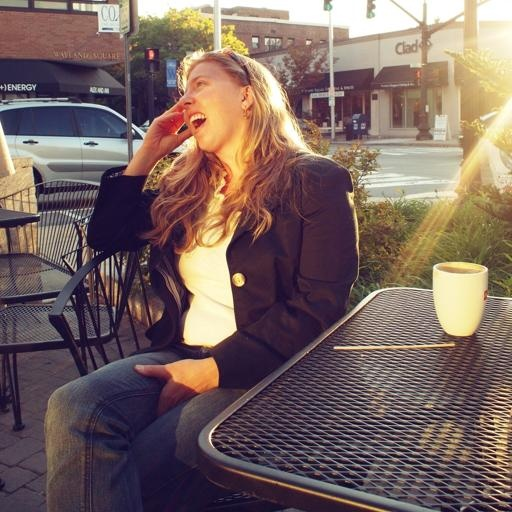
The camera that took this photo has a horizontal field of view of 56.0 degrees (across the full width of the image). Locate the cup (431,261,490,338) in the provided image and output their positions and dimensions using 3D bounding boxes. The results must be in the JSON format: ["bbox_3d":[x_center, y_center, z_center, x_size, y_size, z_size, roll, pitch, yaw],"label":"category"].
[{"bbox_3d":[0.542,0.108,1.277,0.204,0.210,0.193,1,-3,0],"label":"cup"}]
